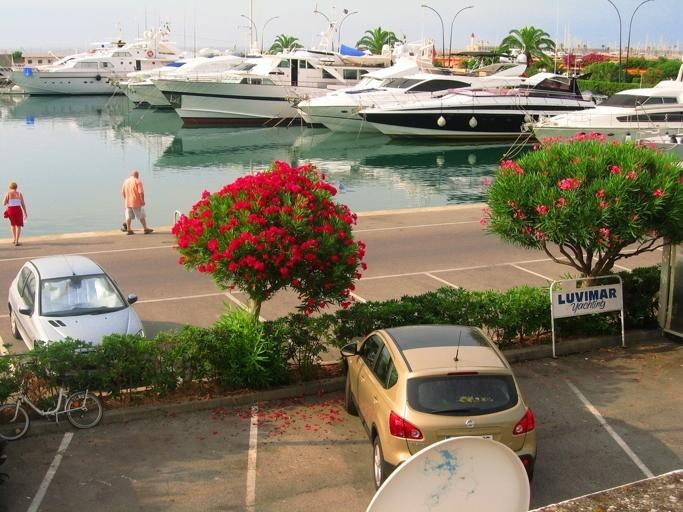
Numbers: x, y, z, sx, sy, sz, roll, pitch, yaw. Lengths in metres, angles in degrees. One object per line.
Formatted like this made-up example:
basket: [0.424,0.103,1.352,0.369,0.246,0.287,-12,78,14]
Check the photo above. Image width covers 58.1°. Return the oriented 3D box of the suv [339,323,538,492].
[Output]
suv: [1.154,1.828,8.695,1.572,1.265,2.789,-1,12,-9]

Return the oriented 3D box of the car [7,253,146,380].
car: [-5.420,1.077,12.352,1.888,1.577,3.294,-17,21,-37]
